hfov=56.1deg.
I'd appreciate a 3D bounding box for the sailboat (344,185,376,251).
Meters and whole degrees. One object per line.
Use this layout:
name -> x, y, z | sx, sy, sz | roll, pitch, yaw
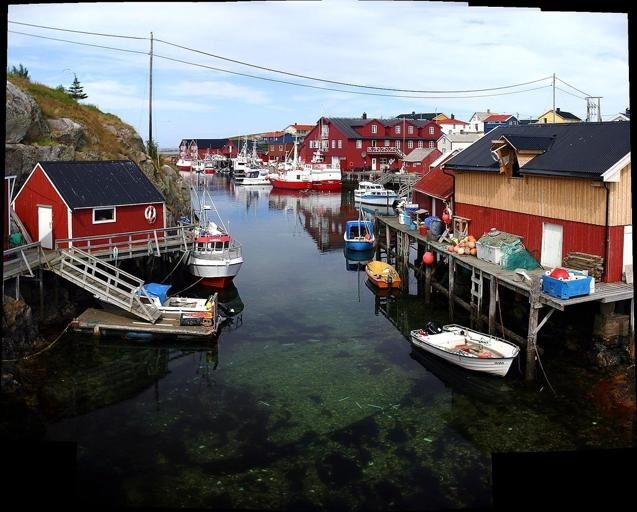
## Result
sailboat -> 2.657, -1.213, 38.966 | 1.337, 2.557, 4.280 | 0, 24, 1
